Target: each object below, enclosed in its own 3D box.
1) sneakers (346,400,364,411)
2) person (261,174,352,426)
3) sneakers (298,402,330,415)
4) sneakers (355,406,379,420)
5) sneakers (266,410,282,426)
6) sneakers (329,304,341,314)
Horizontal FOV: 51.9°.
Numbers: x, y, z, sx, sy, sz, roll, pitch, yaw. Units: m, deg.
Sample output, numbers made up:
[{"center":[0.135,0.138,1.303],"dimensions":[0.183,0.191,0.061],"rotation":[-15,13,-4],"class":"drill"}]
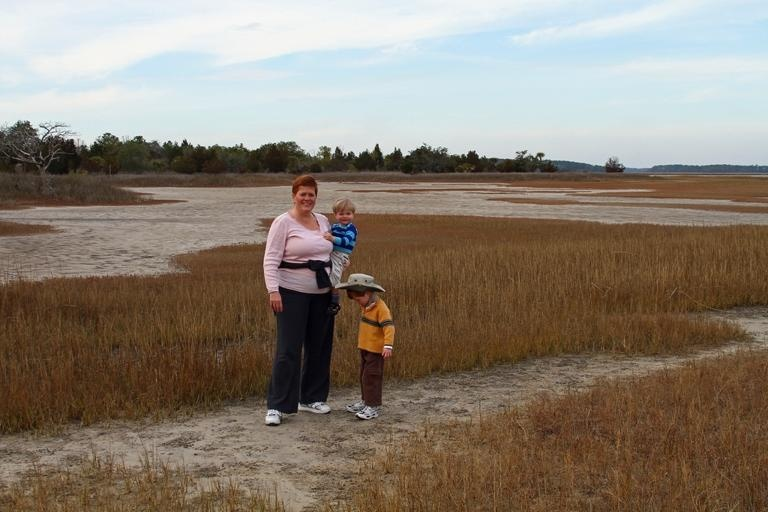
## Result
[{"center":[-0.448,2.345,12.262],"dimensions":[0.307,0.137,0.127],"rotation":[4,-16,5],"class":"sneakers"},{"center":[-1.274,0.663,12.016],"dimensions":[1.126,3.755,0.526],"rotation":[-1,5,-9],"class":"person"},{"center":[-1.067,2.367,12.238],"dimensions":[0.494,0.205,0.182],"rotation":[1,0,5],"class":"sneakers"},{"center":[-0.249,2.412,12.016],"dimensions":[0.378,0.183,0.152],"rotation":[6,-8,-13],"class":"sneakers"},{"center":[-1.667,2.447,11.902],"dimensions":[0.212,0.222,0.100],"rotation":[-1,5,-1],"class":"sneakers"},{"center":[-0.740,0.820,12.111],"dimensions":[0.140,0.066,0.166],"rotation":[1,46,20],"class":"sneakers"}]
